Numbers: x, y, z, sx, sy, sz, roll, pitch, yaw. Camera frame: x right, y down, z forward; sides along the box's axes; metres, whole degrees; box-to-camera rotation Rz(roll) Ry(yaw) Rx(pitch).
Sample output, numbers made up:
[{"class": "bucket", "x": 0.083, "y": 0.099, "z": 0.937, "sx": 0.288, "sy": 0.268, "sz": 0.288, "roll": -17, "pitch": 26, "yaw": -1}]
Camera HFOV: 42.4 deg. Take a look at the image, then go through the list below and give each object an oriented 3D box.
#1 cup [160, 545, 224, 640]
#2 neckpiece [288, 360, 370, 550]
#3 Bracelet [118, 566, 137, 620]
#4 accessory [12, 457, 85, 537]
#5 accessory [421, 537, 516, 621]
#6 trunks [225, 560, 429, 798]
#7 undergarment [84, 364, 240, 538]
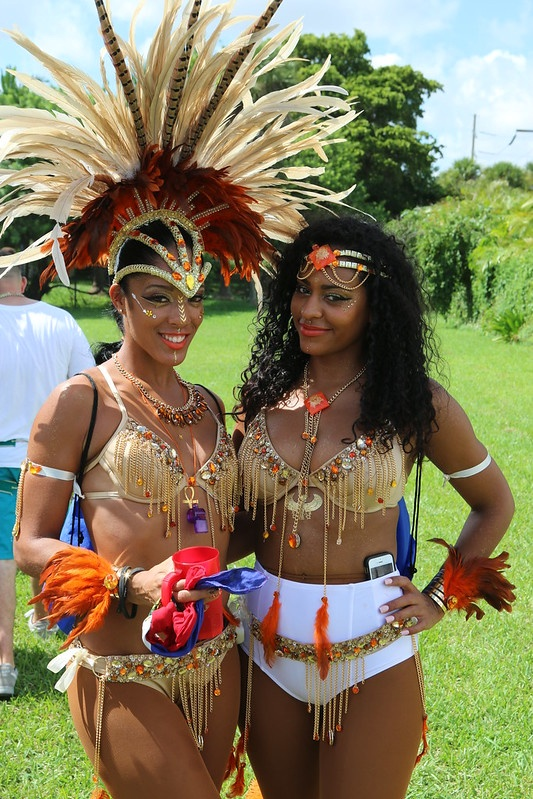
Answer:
[{"class": "cup", "x": -0.166, "y": 0.436, "z": 1.537, "sx": 0.107, "sy": 0.179, "sz": 0.194, "roll": 8, "pitch": -30, "yaw": -20}, {"class": "neckpiece", "x": 0.156, "y": 0.138, "z": 2.111, "sx": 0.200, "sy": 0.022, "sz": 0.572, "roll": 6, "pitch": 49, "yaw": 15}, {"class": "Bracelet", "x": -0.349, "y": 0.478, "z": 1.702, "sx": 0.042, "sy": 0.120, "sz": 0.094, "roll": 5, "pitch": 12, "yaw": -11}, {"class": "accessory", "x": -0.565, "y": 0.247, "z": 1.774, "sx": 0.175, "sy": 0.203, "sz": 0.110, "roll": -5, "pitch": 14, "yaw": -16}, {"class": "accessory", "x": 0.665, "y": 0.581, "z": 2.238, "sx": 0.290, "sy": 0.255, "sz": 0.108, "roll": -6, "pitch": 3, "yaw": 4}, {"class": "trunks", "x": 0.182, "y": 0.818, "z": 2.041, "sx": 0.572, "sy": 0.572, "sz": 0.354, "roll": -2, "pitch": -7, "yaw": 13}, {"class": "undergarment", "x": -0.299, "y": 0.155, "z": 1.891, "sx": 0.265, "sy": 0.411, "sz": 0.482, "roll": -11, "pitch": -21, "yaw": 39}]
